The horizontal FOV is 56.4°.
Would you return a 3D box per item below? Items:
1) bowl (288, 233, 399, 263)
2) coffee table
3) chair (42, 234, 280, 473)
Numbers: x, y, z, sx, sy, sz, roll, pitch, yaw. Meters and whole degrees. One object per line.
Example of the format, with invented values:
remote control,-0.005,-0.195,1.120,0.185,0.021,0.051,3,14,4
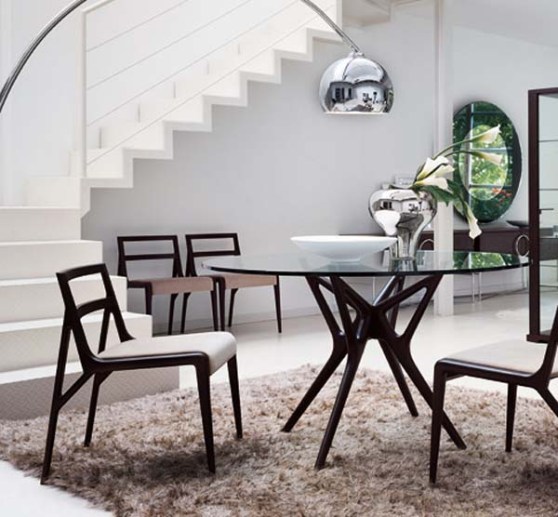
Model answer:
bowl,0.252,-0.037,2.059,0.391,0.095,0.419,0,3,0
coffee table,0.350,0.230,2.070,0.926,0.652,0.948,-1,0,-26
chair,-0.385,0.378,2.183,0.763,0.949,0.591,-1,1,5
